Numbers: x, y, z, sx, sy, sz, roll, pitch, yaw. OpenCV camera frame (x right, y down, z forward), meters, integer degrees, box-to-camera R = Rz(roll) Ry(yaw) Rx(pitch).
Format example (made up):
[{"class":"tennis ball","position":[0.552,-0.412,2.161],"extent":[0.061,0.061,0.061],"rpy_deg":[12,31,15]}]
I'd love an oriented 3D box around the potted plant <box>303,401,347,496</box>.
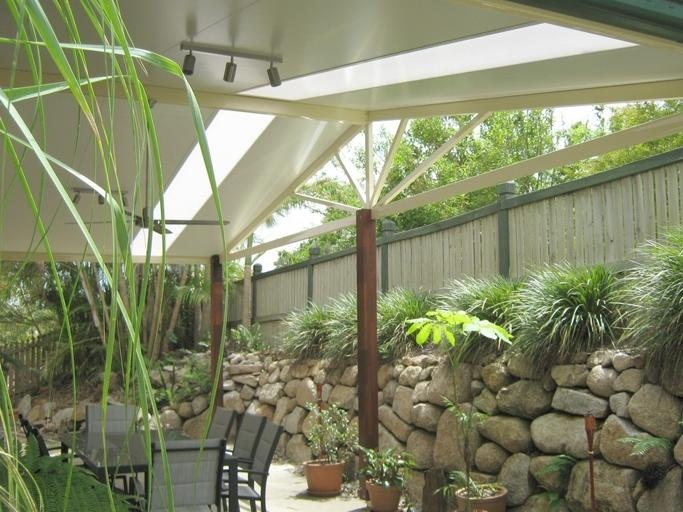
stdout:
[{"class":"potted plant","position":[-0.167,1.971,6.551],"extent":[0.447,0.866,1.015],"rpy_deg":[-1,-7,-2]}]

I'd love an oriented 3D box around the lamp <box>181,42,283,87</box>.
[{"class":"lamp","position":[-0.721,-1.259,4.119],"extent":[0.679,0.170,0.353],"rpy_deg":[1,-8,-20]}]
